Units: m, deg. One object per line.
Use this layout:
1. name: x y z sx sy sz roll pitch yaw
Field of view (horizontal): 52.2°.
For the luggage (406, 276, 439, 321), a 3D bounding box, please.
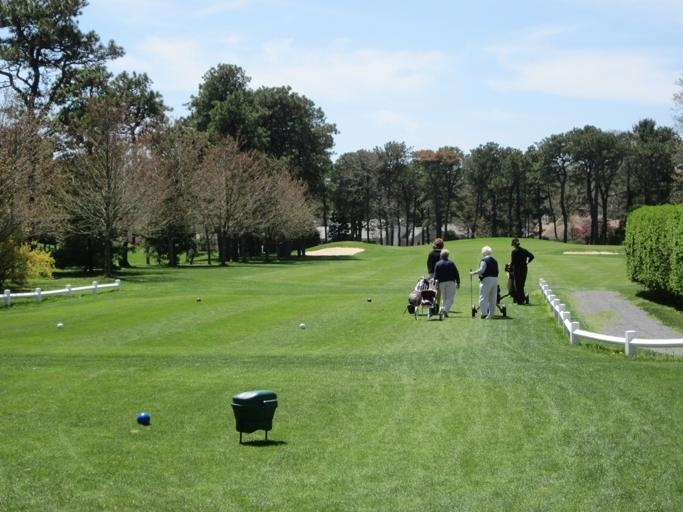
1. luggage: 2.903 1.464 24.516 0.808 1.383 1.448 2 7 6
